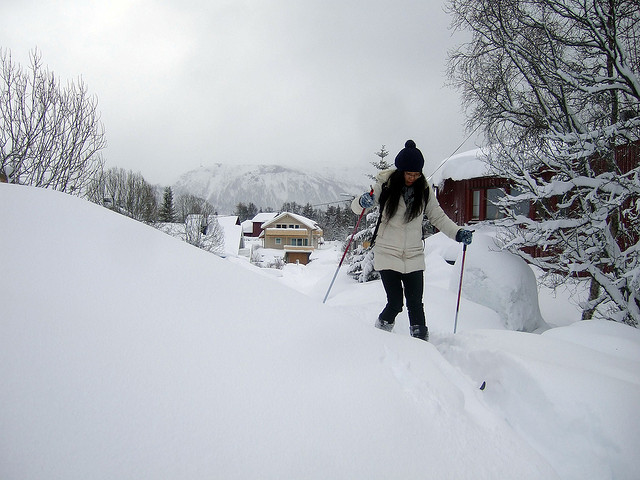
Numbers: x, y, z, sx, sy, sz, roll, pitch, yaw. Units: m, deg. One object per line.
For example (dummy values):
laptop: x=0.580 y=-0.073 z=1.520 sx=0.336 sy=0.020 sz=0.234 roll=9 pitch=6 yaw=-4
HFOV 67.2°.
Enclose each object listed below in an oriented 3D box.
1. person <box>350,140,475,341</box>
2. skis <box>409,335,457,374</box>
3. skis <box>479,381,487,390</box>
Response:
person: x=0.892 y=0.003 z=4.692 sx=0.856 sy=1.903 sz=0.822 roll=3 pitch=-1 yaw=-33
skis: x=0.845 y=0.857 z=3.640 sx=0.115 sy=0.119 sz=0.484 roll=-6 pitch=29 yaw=-22
skis: x=1.149 y=1.021 z=3.401 sx=0.018 sy=0.030 sz=0.087 roll=-41 pitch=-7 yaw=27
